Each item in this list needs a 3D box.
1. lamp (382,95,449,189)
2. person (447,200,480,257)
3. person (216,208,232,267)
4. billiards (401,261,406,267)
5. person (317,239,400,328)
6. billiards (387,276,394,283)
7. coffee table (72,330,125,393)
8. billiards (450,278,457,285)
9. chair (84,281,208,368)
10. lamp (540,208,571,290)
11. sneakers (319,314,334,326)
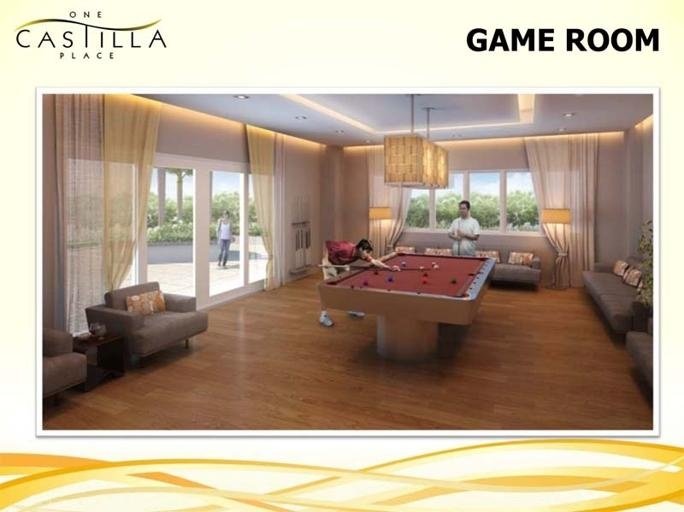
[{"bbox_3d":[0.943,-1.418,5.532,0.461,1.172,1.351,-3,12,-15],"label":"lamp"},{"bbox_3d":[1.990,-0.446,7.976,0.454,0.907,0.543,0,7,14],"label":"person"},{"bbox_3d":[-1.770,-0.259,7.415,0.126,0.855,0.418,0,6,8],"label":"person"},{"bbox_3d":[0.804,0.106,6.365,0.064,0.060,0.064,-3,11,-6],"label":"billiards"},{"bbox_3d":[0.097,0.151,6.527,1.264,1.449,0.736,5,11,21],"label":"person"},{"bbox_3d":[0.521,0.253,5.269,0.041,0.050,0.051,-1,-11,10],"label":"billiards"},{"bbox_3d":[-2.374,1.005,4.649,0.464,0.389,0.453,-5,-3,13],"label":"coffee table"},{"bbox_3d":[1.195,0.265,5.221,0.052,0.051,0.052,1,-5,-5],"label":"billiards"},{"bbox_3d":[-2.068,0.705,5.257,0.676,0.767,1.047,3,8,35],"label":"chair"},{"bbox_3d":[3.757,-0.161,8.586,0.489,1.353,0.485,1,7,24],"label":"lamp"},{"bbox_3d":[-0.211,0.845,6.442,0.244,0.171,0.090,-5,-5,32],"label":"sneakers"}]
